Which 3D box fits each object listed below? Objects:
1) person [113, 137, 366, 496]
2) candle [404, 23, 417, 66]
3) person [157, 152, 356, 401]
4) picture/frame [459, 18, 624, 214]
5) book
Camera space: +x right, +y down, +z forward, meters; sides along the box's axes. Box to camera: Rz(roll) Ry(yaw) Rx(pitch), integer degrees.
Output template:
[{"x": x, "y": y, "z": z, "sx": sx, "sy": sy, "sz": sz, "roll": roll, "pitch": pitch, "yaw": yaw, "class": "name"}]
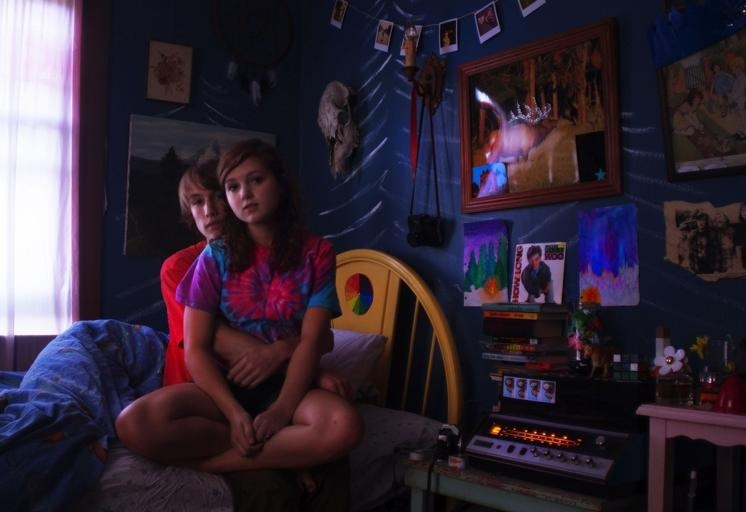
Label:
[{"x": -0.432, "y": 0.147, "z": 1.944, "sx": 0.704, "sy": 1.105, "sz": 0.644, "roll": 2, "pitch": -3, "yaw": -19, "class": "person"}, {"x": 0.190, "y": -1.039, "z": 2.795, "sx": 0.060, "sy": 0.245, "sz": 0.187, "roll": 1, "pitch": -1, "yaw": 4, "class": "candle"}, {"x": -0.431, "y": 0.061, "z": 1.961, "sx": 0.700, "sy": 0.983, "sz": 0.810, "roll": -2, "pitch": 11, "yaw": -23, "class": "person"}, {"x": 0.766, "y": -0.613, "z": 2.434, "sx": 0.823, "sy": 0.835, "sz": 0.062, "roll": -7, "pitch": -9, "yaw": 42, "class": "picture/frame"}, {"x": 0.604, "y": 0.296, "z": 2.145, "sx": 0.271, "sy": 0.175, "sz": 0.260, "roll": 4, "pitch": -6, "yaw": -45, "class": "book"}]
